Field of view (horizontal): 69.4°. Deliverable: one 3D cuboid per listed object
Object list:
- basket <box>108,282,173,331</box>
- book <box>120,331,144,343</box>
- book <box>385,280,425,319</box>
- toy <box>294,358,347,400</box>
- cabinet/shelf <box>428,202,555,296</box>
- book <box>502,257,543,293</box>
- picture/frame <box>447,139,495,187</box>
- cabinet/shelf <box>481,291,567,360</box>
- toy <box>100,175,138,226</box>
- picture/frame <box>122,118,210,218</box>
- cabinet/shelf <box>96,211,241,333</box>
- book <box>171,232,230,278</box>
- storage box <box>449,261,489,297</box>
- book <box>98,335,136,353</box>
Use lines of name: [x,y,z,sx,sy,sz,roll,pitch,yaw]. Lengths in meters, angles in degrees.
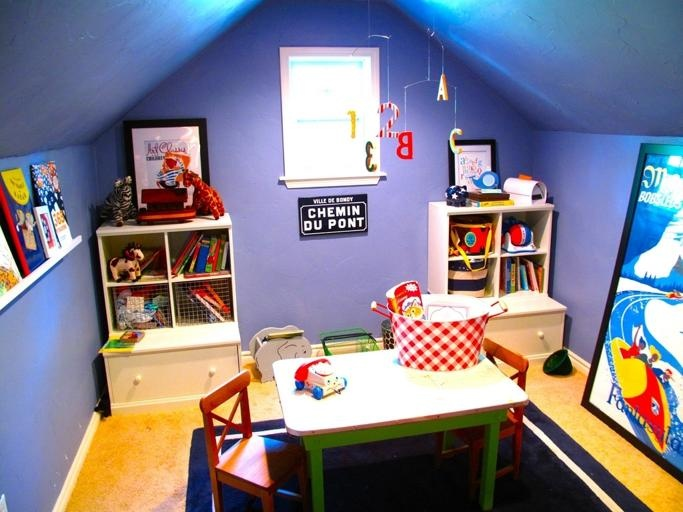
basket: [-1.499,0.386,3.677,0.498,0.404,0.292,-2,-2,-14]
book: [-1.517,0.578,3.575,0.087,0.027,0.089,3,19,-1]
book: [0.338,0.242,2.812,0.197,0.216,0.047,-5,0,-36]
toy: [-0.108,0.610,2.486,0.209,0.130,0.174,-11,18,-43]
cabinet/shelf: [1.219,-0.069,4.053,0.672,0.623,0.251,-2,11,-10]
book: [1.495,0.143,4.230,0.272,0.397,0.383,-2,3,-12]
picture/frame: [1.067,-0.792,4.139,0.359,0.465,0.033,-5,13,-7]
cabinet/shelf: [1.471,0.543,4.112,0.731,0.571,0.459,-5,16,-13]
toy: [-1.637,-0.422,3.637,0.323,0.328,0.257,11,20,44]
picture/frame: [-1.338,-0.669,3.676,0.673,0.871,0.059,-2,9,-12]
cabinet/shelf: [-1.322,0.128,3.668,0.774,0.717,0.268,-4,11,-12]
book: [-1.059,-0.026,3.675,0.423,0.316,0.104,-5,14,-9]
storage box: [1.126,0.182,4.177,0.321,0.292,0.359,-5,1,-26]
book: [-1.558,0.607,3.521,0.237,0.056,0.252,-5,16,-7]
